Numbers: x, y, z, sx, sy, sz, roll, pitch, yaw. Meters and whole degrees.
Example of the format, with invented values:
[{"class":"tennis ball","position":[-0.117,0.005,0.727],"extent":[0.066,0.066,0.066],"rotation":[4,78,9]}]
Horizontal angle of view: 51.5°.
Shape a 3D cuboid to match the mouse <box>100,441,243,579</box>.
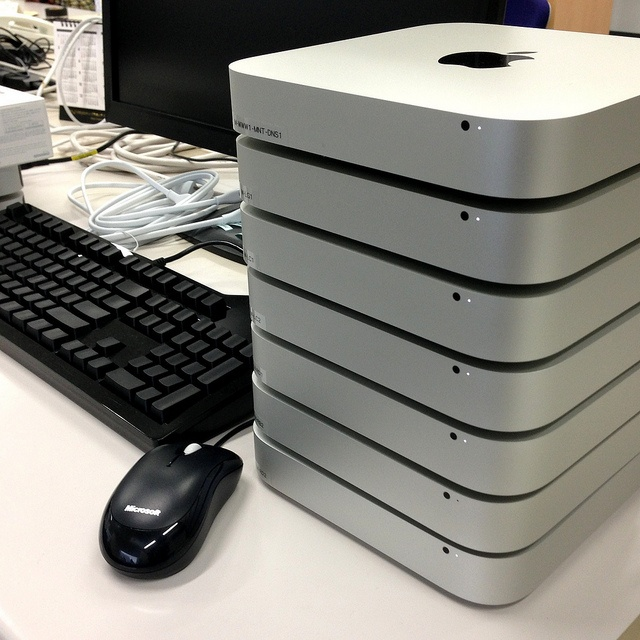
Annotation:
[{"class":"mouse","position":[-0.093,0.119,0.427],"extent":[0.051,0.029,0.089],"rotation":[12,35,21]}]
